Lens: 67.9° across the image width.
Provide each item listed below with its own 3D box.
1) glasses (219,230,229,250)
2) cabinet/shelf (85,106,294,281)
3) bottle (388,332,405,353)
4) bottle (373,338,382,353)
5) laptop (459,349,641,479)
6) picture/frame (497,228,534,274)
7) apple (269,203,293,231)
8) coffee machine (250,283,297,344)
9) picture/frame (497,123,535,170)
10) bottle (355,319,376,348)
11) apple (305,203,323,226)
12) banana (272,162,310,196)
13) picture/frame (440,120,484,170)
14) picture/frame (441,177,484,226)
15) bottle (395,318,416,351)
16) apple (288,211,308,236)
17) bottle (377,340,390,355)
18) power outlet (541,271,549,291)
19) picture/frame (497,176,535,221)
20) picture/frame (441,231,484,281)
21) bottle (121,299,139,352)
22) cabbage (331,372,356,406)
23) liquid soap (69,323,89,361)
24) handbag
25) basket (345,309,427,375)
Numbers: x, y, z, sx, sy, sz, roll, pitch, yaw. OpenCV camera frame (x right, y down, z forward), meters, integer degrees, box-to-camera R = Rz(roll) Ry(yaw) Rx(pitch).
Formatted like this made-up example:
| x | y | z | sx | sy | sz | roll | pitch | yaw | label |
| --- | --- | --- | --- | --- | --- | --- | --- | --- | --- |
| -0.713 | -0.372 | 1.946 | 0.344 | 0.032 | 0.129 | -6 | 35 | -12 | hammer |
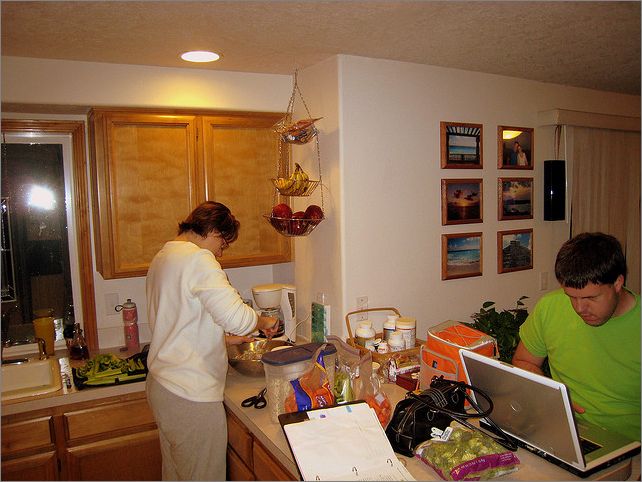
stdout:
| x | y | z | sx | sy | sz | roll | pitch | yaw | label |
| --- | --- | --- | --- | --- | --- | --- | --- | --- | --- |
| -0.505 | -0.001 | 2.487 | 0.023 | 0.077 | 0.075 | -13 | -9 | 15 | glasses |
| -0.844 | -0.330 | 3.371 | 1.455 | 1.204 | 0.476 | -3 | 9 | -20 | cabinet/shelf |
| 0.406 | 0.546 | 2.581 | 0.095 | 0.105 | 0.094 | 1 | -1 | -29 | bottle |
| 0.312 | 0.579 | 2.634 | 0.042 | 0.049 | 0.052 | 1 | -3 | 1 | bottle |
| 0.927 | 0.579 | 1.913 | 0.493 | 0.386 | 0.544 | -3 | 7 | -30 | laptop |
| 1.502 | 0.075 | 3.636 | 0.029 | 0.325 | 0.378 | 3 | -6 | -19 | picture/frame |
| -0.249 | -0.147 | 2.950 | 0.154 | 0.183 | 0.153 | 2 | 1 | -13 | apple |
| -0.308 | 0.528 | 3.218 | 0.289 | 0.376 | 0.223 | 3 | -33 | -20 | coffee machine |
| 1.490 | -0.700 | 3.599 | 0.025 | 0.325 | 0.363 | -9 | 15 | -19 | picture/frame |
| 0.256 | 0.538 | 2.792 | 0.123 | 0.213 | 0.123 | 1 | 2 | 0 | bottle |
| -0.041 | -0.164 | 3.004 | 0.115 | 0.132 | 0.114 | -11 | 4 | -29 | apple |
| -0.178 | -0.379 | 2.914 | 0.211 | 0.151 | 0.193 | 8 | 8 | 41 | banana |
| 0.994 | -0.667 | 3.328 | 0.382 | 0.315 | 0.029 | -3 | 5 | -24 | picture/frame |
| 1.010 | -0.279 | 3.366 | 0.380 | 0.326 | 0.027 | -4 | 5 | -24 | picture/frame |
| 0.472 | 0.526 | 2.660 | 0.110 | 0.177 | 0.114 | -3 | 5 | 0 | bottle |
| -0.141 | -0.103 | 2.939 | 0.119 | 0.145 | 0.125 | 1 | 4 | 8 | apple |
| 0.338 | 0.581 | 2.582 | 0.048 | 0.059 | 0.060 | -1 | 7 | -1 | bottle |
| 1.793 | 0.314 | 3.810 | 0.143 | 0.165 | 0.012 | -6 | 4 | -42 | power outlet |
| 1.503 | -0.320 | 3.621 | 0.029 | 0.337 | 0.360 | -4 | 5 | -23 | picture/frame |
| 0.992 | 0.099 | 3.373 | 0.350 | 0.333 | 0.026 | -2 | 3 | -30 | picture/frame |
| -1.322 | 0.580 | 3.291 | 0.111 | 0.316 | 0.163 | -6 | 3 | -23 | bottle |
| 0.105 | 0.663 | 2.138 | 0.100 | 0.164 | 0.103 | 9 | -18 | -29 | cabbage |
| -1.651 | 0.675 | 3.211 | 0.118 | 0.235 | 0.216 | -6 | 3 | -27 | liquid soap |
| 0.514 | 0.708 | 1.906 | 0.380 | 0.238 | 0.572 | -13 | -4 | -31 | handbag |
| 0.339 | 0.576 | 2.765 | 0.329 | 0.202 | 0.327 | 1 | -5 | -24 | basket |
